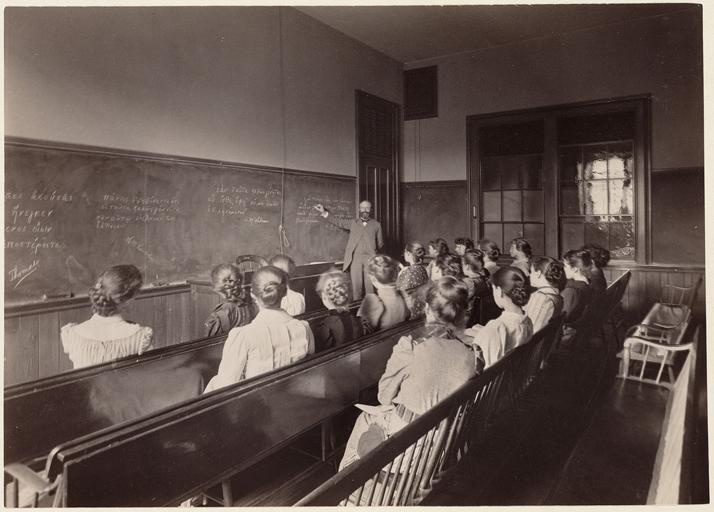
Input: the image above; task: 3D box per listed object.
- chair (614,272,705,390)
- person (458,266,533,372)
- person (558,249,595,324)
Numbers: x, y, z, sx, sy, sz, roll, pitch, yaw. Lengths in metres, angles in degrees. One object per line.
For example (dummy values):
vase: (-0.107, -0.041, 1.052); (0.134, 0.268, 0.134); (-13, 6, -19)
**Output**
chair: (2.623, 0.654, 4.580); (0.307, 0.389, 0.885); (2, 29, 41)
person: (1.149, 0.518, 4.181); (0.508, 0.910, 0.489); (-11, 23, -19)
person: (2.006, 0.302, 4.858); (0.266, 0.712, 0.322); (0, -32, 45)
